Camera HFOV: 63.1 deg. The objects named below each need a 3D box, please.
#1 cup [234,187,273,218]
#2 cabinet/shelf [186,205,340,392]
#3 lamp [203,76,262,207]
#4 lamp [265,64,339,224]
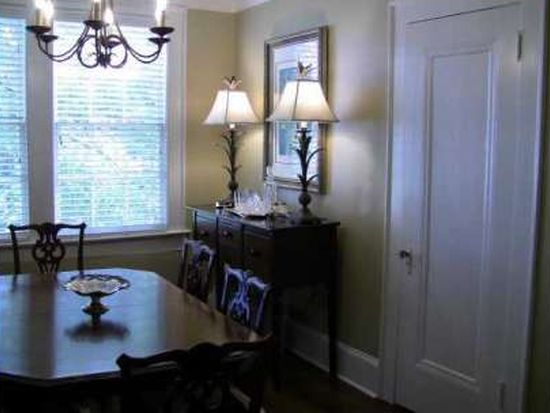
[{"bbox_3d":[-0.175,-0.036,3.547,0.252,0.172,0.204,4,6,41],"label":"cup"},{"bbox_3d":[-0.025,0.585,2.948,0.409,0.914,1.152,-4,8,-29],"label":"cabinet/shelf"},{"bbox_3d":[-0.386,-0.618,4.056,0.468,1.069,0.739,-1,15,-9],"label":"lamp"},{"bbox_3d":[0.224,-0.459,3.318,0.493,1.158,0.518,15,20,42],"label":"lamp"}]
